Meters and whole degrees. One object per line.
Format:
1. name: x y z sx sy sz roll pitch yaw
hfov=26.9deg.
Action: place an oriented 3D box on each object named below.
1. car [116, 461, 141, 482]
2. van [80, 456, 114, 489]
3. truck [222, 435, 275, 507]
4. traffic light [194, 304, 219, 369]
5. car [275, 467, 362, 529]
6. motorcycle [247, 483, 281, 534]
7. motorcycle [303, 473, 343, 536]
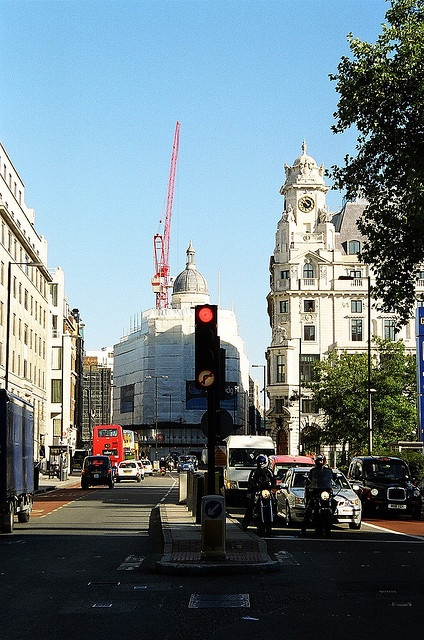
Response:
1. car: -5.580 10.099 59.844 1.588 1.410 2.057 1 -10 -7
2. van: -6.075 7.944 47.233 1.028 1.252 2.162 1 -14 -5
3. truck: 1.478 5.986 33.626 1.822 3.103 5.746 1 -18 1
4. traffic light: -0.060 0.229 12.062 0.290 0.914 0.218 1 -8 -8
5. car: 2.512 4.279 21.221 1.913 2.021 3.583 -2 -8 -4
6. motorcycle: 1.060 3.597 18.221 0.572 0.984 1.573 -2 17 -6
7. motorcycle: 2.190 3.633 17.929 0.615 1.346 1.001 0 -9 -4
